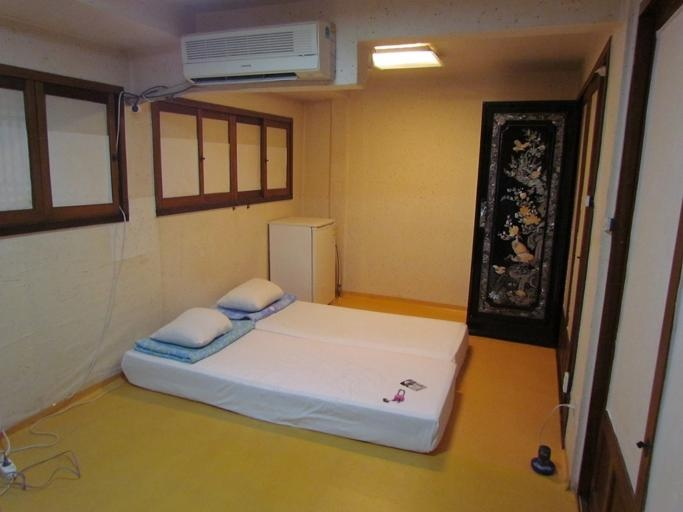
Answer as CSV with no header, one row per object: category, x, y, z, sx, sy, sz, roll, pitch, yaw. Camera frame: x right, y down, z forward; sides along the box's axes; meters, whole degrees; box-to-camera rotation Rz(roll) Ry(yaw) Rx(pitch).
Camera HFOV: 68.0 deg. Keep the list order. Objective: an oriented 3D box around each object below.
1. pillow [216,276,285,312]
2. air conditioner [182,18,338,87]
pillow,-0.874,0.312,5.091,0.543,0.295,0.566,7,10,13
air conditioner,-0.596,-1.520,3.871,1.080,0.460,0.629,8,9,19
